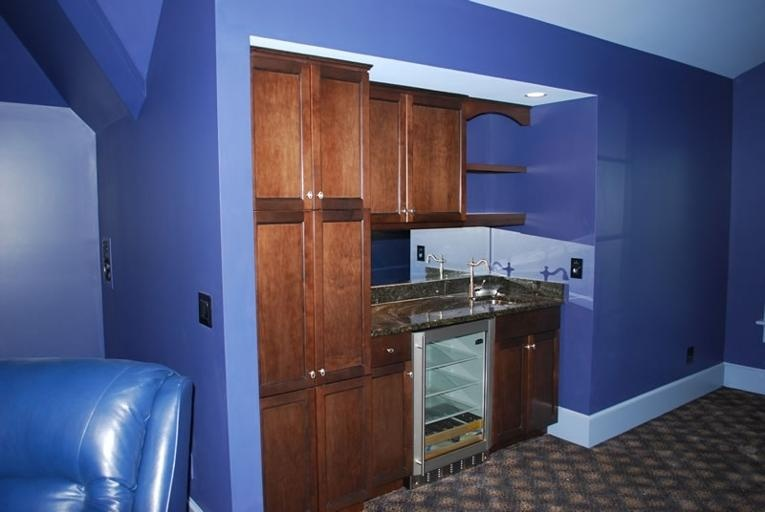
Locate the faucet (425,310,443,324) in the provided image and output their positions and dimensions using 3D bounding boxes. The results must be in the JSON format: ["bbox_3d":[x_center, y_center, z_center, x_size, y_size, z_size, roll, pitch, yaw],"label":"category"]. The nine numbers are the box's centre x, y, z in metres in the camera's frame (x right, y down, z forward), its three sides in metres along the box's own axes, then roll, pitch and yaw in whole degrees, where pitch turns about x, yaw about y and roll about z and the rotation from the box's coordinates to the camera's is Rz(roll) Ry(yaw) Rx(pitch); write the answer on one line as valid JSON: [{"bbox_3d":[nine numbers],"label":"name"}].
[{"bbox_3d":[0.433,0.507,4.656,0.110,0.062,0.102,3,-1,-19],"label":"faucet"}]

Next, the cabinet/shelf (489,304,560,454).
[{"bbox_3d":[1.552,1.204,5.192,0.638,1.278,0.882,21,-29,-23],"label":"cabinet/shelf"}]

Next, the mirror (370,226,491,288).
[{"bbox_3d":[0.476,-0.027,5.285,1.402,0.524,0.102,-9,16,-32],"label":"mirror"}]

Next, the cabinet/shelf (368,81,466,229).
[{"bbox_3d":[0.128,-0.803,4.797,1.189,1.160,0.417,-6,9,-37],"label":"cabinet/shelf"}]

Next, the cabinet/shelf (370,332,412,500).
[{"bbox_3d":[0.073,1.189,4.372,0.407,1.149,0.257,-5,15,-19],"label":"cabinet/shelf"}]

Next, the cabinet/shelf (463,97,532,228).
[{"bbox_3d":[1.198,-0.917,5.826,0.404,1.283,1.274,-1,9,5],"label":"cabinet/shelf"}]
